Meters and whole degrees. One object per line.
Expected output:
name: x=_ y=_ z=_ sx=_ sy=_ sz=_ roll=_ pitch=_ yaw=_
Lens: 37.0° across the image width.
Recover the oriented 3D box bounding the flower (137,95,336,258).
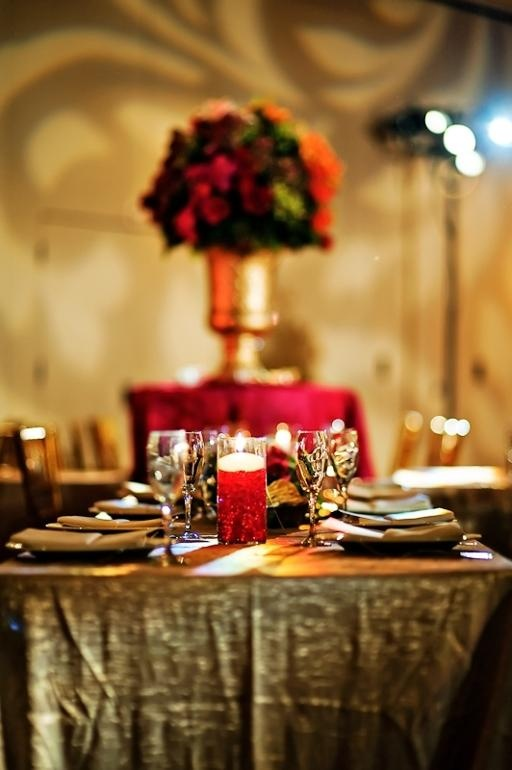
flower: x=-0.016 y=-0.391 z=1.484 sx=0.363 sy=0.184 sz=0.316 roll=-4 pitch=44 yaw=1
